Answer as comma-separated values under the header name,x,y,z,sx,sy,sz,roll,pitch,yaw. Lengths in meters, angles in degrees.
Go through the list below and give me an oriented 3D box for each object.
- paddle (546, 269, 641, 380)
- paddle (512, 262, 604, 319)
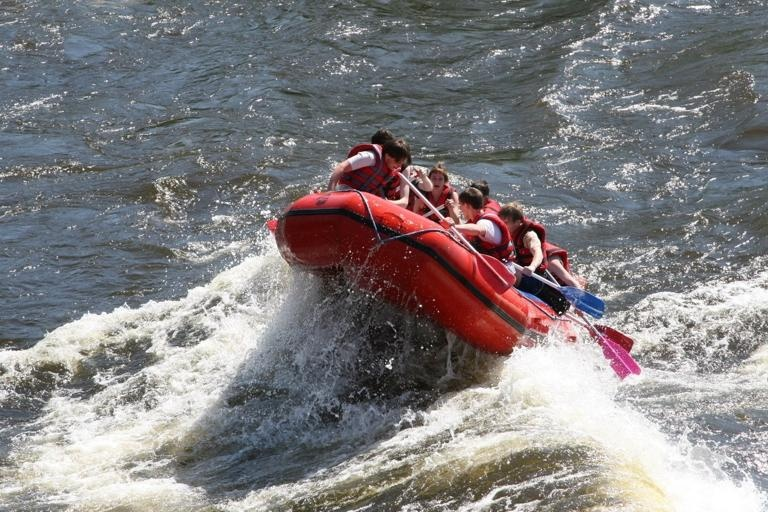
name,x,y,z,sx,sy,sz,roll,pitch,yaw
paddle,3.129,1.084,18.912,0.587,2.403,0.263,-51,-26,6
paddle,2.667,0.489,19.252,0.227,0.316,2.457,29,0,-26
